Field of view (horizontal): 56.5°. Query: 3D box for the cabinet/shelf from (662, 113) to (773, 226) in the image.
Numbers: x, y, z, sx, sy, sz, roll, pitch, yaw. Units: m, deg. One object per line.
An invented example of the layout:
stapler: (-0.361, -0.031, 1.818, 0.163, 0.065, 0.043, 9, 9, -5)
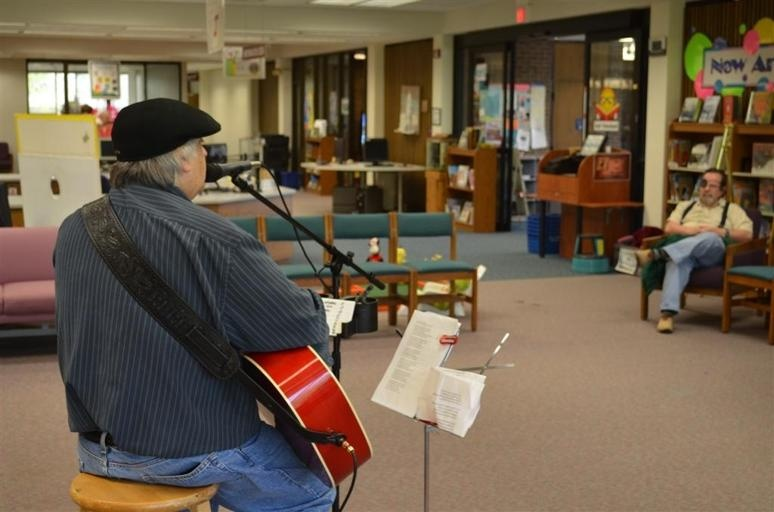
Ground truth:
cabinet/shelf: (3.689, -0.971, 7.953, 0.380, 1.358, 1.301, -2, 5, -33)

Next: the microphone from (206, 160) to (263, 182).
microphone: (-0.670, -0.368, 3.105, 0.084, 0.089, 0.351, -28, -9, 31)

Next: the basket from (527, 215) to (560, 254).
basket: (2.199, -0.284, 10.120, 0.455, 0.539, 0.448, 3, 12, 13)

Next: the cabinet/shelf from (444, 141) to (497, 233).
cabinet/shelf: (1.411, -1.109, 11.812, 0.593, 1.908, 1.630, 0, 3, -12)

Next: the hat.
hat: (-0.767, -0.444, 2.517, 0.306, 0.147, 0.217, -22, 22, -14)

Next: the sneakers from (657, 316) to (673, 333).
sneakers: (2.551, 0.612, 6.576, 0.136, 0.134, 0.246, 5, 13, 22)

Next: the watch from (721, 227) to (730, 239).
watch: (3.198, -0.214, 6.803, 0.035, 0.100, 0.069, 3, 2, -22)

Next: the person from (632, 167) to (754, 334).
person: (2.948, -0.127, 6.889, 1.048, 1.739, 0.768, 19, -13, -37)
